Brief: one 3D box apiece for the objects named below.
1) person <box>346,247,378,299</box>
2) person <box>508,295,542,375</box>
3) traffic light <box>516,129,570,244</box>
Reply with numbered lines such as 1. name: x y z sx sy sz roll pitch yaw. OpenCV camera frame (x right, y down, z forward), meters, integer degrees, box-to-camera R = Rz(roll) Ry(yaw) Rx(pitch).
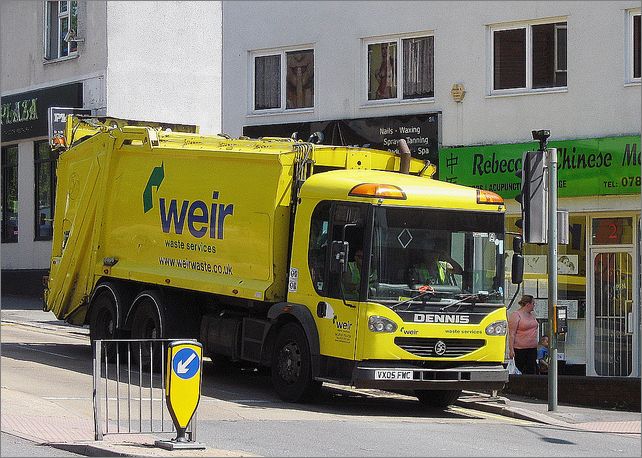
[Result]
1. person: 0.539 0.758 16.178 0.333 0.827 0.079 0 -2 19
2. person: 4.132 2.166 19.931 0.574 1.569 0.251 1 -2 4
3. traffic light: 3.816 -0.749 17.232 0.665 1.994 0.362 0 -2 11
